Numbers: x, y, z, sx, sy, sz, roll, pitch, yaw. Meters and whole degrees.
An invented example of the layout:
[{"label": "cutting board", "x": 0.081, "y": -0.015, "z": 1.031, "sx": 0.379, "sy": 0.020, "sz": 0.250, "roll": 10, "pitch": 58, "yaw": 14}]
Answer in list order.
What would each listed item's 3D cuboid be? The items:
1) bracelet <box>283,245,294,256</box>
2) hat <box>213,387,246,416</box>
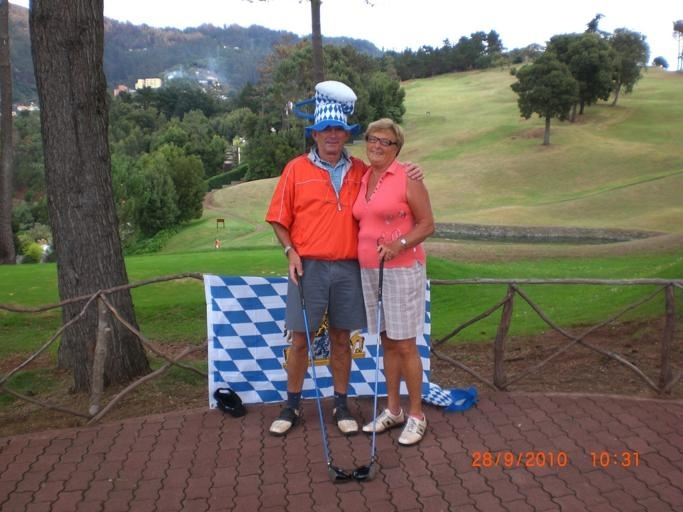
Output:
[{"label": "bracelet", "x": -0.568, "y": -0.064, "z": 7.315, "sx": 0.091, "sy": 0.094, "sz": 0.098, "roll": 4, "pitch": 2, "yaw": 3}, {"label": "hat", "x": -1.271, "y": 1.652, "z": 7.729, "sx": 0.367, "sy": 0.272, "sz": 0.163, "roll": 7, "pitch": 17, "yaw": 36}]
